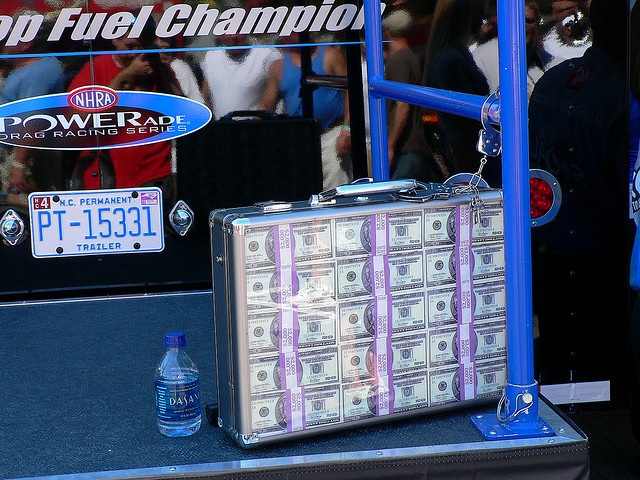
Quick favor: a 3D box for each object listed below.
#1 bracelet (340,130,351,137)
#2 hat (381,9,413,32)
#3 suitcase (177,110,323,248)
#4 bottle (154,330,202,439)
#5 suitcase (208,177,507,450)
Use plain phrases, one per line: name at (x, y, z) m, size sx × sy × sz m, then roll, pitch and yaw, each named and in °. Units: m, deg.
bracelet at (0.122, -0.497, 4.320) m, size 0.049 × 0.056 × 0.018 m, roll 2°, pitch 7°, yaw -1°
hat at (0.352, -0.992, 4.265) m, size 0.134 × 0.100 × 0.027 m, roll -9°, pitch 10°, yaw -14°
suitcase at (-0.311, -0.286, 3.985) m, size 0.487 × 0.567 × 0.196 m, roll -1°, pitch 6°, yaw -3°
bottle at (-0.502, 0.534, 3.335) m, size 0.156 × 0.287 × 0.151 m, roll -5°, pitch 10°, yaw 1°
suitcase at (0.140, 0.275, 3.264) m, size 0.713 × 0.717 × 0.297 m, roll -4°, pitch 6°, yaw -18°
